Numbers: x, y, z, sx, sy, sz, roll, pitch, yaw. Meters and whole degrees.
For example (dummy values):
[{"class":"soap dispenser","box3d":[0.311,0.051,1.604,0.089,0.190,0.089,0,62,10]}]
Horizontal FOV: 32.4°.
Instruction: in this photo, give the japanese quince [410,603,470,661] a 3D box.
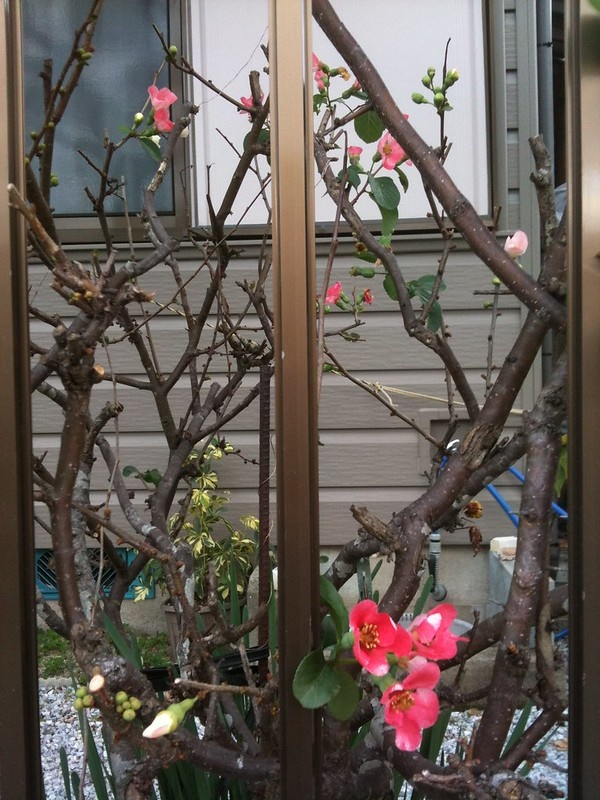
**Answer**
[{"class":"japanese quince","box3d":[0.182,0.322,1.424,0.066,0.074,0.059,-3,4,5]}]

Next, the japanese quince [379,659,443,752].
[{"class":"japanese quince","box3d":[0.145,0.419,1.385,0.095,0.117,0.032,-6,4,-30]}]

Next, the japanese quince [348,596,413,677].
[{"class":"japanese quince","box3d":[0.099,0.319,1.371,0.048,0.099,0.085,4,6,40]}]

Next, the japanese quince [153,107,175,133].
[{"class":"japanese quince","box3d":[-0.309,-0.633,2.340,0.029,0.053,0.051,-6,42,-30]}]
